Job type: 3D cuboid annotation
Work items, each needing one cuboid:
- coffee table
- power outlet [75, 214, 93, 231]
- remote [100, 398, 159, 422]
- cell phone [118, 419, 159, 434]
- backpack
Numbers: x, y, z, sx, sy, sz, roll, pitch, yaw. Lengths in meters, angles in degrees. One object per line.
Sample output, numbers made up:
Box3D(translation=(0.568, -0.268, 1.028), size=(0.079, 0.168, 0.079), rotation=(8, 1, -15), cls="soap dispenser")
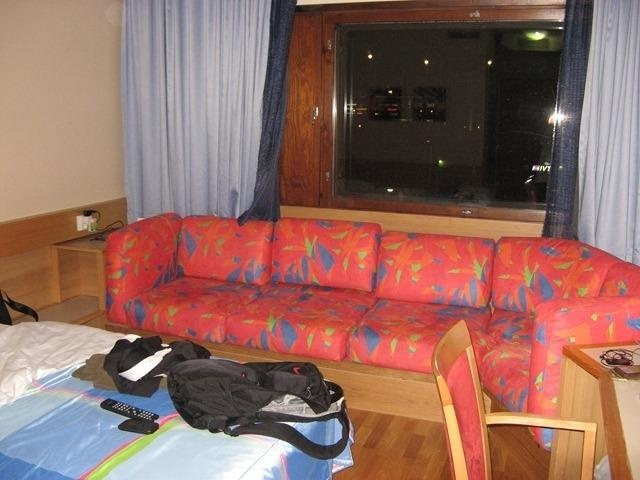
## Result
Box3D(translation=(-1.961, 0.270, 4.231), size=(0.656, 0.567, 0.402), rotation=(8, 12, 33), cls="coffee table")
Box3D(translation=(-2.048, -0.161, 4.337), size=(0.065, 0.126, 0.128), rotation=(6, 9, 26), cls="power outlet")
Box3D(translation=(-0.811, 0.721, 2.132), size=(0.286, 0.039, 0.094), rotation=(12, 14, 12), cls="remote")
Box3D(translation=(-0.735, 0.758, 2.040), size=(0.100, 0.011, 0.065), rotation=(6, 8, 2), cls="cell phone")
Box3D(translation=(-0.254, 0.702, 2.209), size=(0.517, 0.144, 0.514), rotation=(3, 14, -7), cls="backpack")
